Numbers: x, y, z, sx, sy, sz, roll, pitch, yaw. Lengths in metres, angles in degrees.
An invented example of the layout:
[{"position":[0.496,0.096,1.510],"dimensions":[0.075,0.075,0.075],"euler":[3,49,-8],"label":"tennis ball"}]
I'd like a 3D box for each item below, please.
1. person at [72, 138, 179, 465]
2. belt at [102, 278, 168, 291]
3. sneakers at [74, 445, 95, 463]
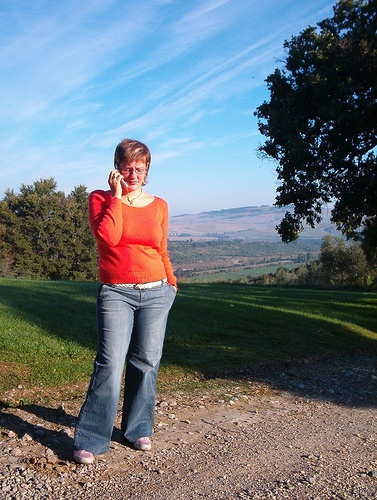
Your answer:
[{"position":[-0.474,0.403,3.196],"dimensions":[0.509,2.272,0.822],"euler":[5,-3,38],"label":"person"},{"position":[-0.391,0.269,3.175],"dimensions":[0.156,0.079,0.512],"euler":[4,-4,45],"label":"belt"},{"position":[-0.786,1.566,3.005],"dimensions":[0.170,0.099,0.119],"euler":[8,-3,-19],"label":"sneakers"}]
